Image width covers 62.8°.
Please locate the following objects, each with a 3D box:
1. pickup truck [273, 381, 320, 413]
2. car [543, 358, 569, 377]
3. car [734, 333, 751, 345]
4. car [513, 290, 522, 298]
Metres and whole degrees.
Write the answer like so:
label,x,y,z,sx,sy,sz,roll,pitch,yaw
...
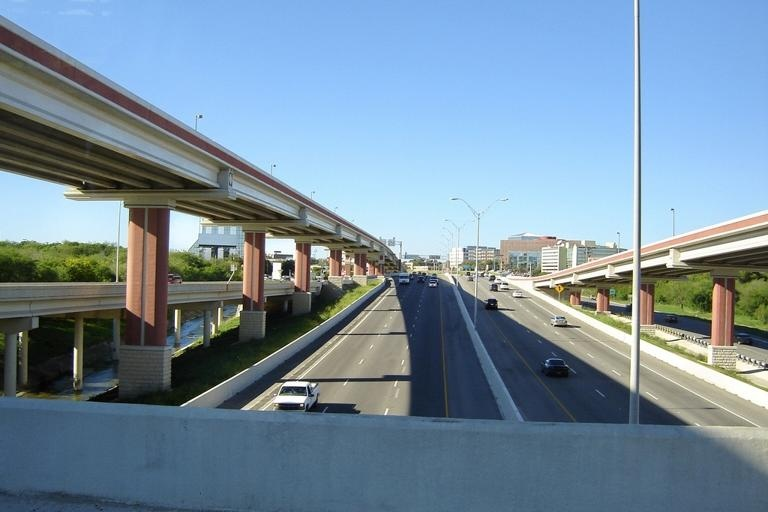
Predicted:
label,x,y,z,sx,sy,sz,roll,pitch,yaw
pickup truck,-4.676,7.628,33.579,1.776,1.368,2.714,3,4,11
car,11.870,7.730,43.082,1.613,1.054,0.761,2,4,-2
car,36.902,8.503,64.179,1.453,0.817,2.251,4,4,26
car,20.909,5.913,97.612,0.908,0.672,1.907,-1,-8,5
